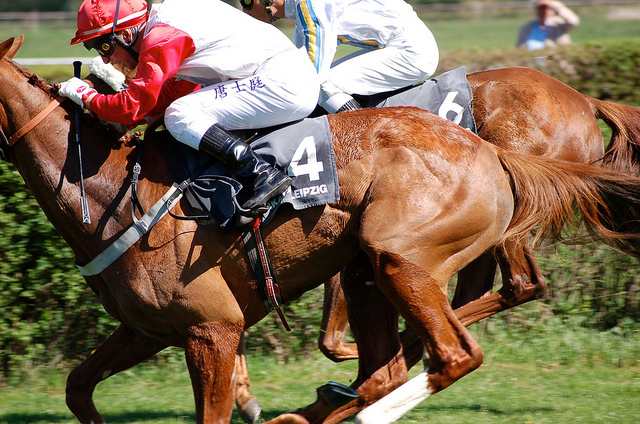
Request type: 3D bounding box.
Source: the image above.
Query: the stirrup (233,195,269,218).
[{"bbox_3d":[-0.402,-0.027,5.011,0.185,0.055,0.135,-1,20,-25],"label":"stirrup"}]

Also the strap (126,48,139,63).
[{"bbox_3d":[-1.091,-0.920,5.203,0.049,0.084,0.068,-38,23,-17],"label":"strap"}]

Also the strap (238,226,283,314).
[{"bbox_3d":[-0.344,0.344,5.149,0.195,0.541,0.102,-4,16,5],"label":"strap"}]

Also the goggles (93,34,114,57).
[{"bbox_3d":[-1.247,-0.969,5.167,0.155,0.089,0.102,-23,42,-11],"label":"goggles"}]

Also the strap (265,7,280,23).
[{"bbox_3d":[-0.327,-1.360,6.104,0.046,0.118,0.043,15,65,10],"label":"strap"}]

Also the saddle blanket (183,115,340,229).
[{"bbox_3d":[-0.168,-0.264,5.110,0.950,0.510,0.252,-12,-2,11],"label":"saddle blanket"}]

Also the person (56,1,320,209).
[{"bbox_3d":[-0.740,-0.758,5.727,2.024,1.198,0.994,-3,1,-1],"label":"person"}]
